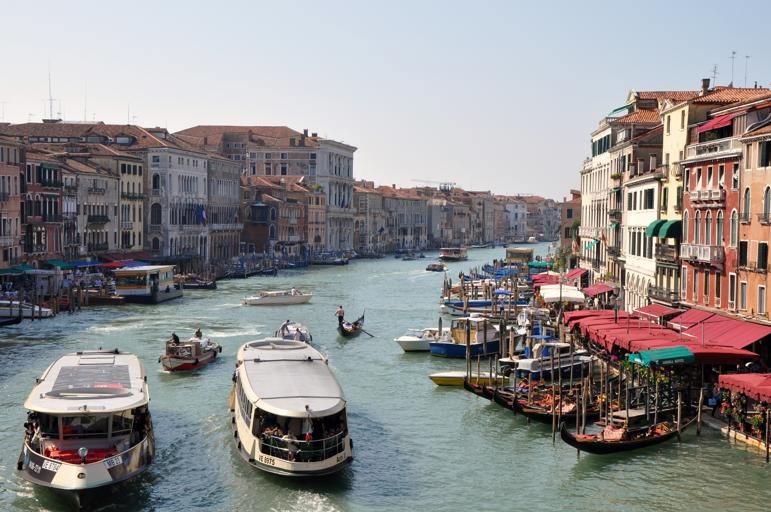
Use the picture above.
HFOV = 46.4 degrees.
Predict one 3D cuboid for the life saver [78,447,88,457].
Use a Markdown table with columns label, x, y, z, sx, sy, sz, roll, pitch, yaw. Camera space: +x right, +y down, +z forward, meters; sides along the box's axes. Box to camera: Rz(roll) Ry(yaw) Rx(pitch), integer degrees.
| label | x | y | z | sx | sy | sz | roll | pitch | yaw |
| --- | --- | --- | --- | --- | --- | --- | --- | --- | --- |
| life saver | -14.001 | 9.162 | 41.762 | 0.408 | 0.415 | 0.387 | 10 | 20 | 16 |

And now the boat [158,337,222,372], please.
| label | x | y | z | sx | sy | sz | roll | pitch | yaw |
| --- | --- | --- | --- | --- | --- | --- | --- | --- | --- |
| boat | -13.778 | 7.044 | 63.952 | 1.975 | 2.100 | 4.509 | -1 | 2 | 20 |

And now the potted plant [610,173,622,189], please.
| label | x | y | z | sx | sy | sz | roll | pitch | yaw |
| --- | --- | --- | --- | --- | --- | --- | --- | --- | --- |
| potted plant | 20.730 | -6.753 | 80.785 | 1.158 | 1.201 | 1.266 | 1 | 1 | 15 |

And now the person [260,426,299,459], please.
| label | x | y | z | sx | sy | sz | roll | pitch | yaw |
| --- | --- | --- | --- | --- | --- | --- | --- | --- | --- |
| person | -5.120 | 9.277 | 44.124 | 1.150 | 0.872 | 1.786 | 10 | 17 | 9 |
